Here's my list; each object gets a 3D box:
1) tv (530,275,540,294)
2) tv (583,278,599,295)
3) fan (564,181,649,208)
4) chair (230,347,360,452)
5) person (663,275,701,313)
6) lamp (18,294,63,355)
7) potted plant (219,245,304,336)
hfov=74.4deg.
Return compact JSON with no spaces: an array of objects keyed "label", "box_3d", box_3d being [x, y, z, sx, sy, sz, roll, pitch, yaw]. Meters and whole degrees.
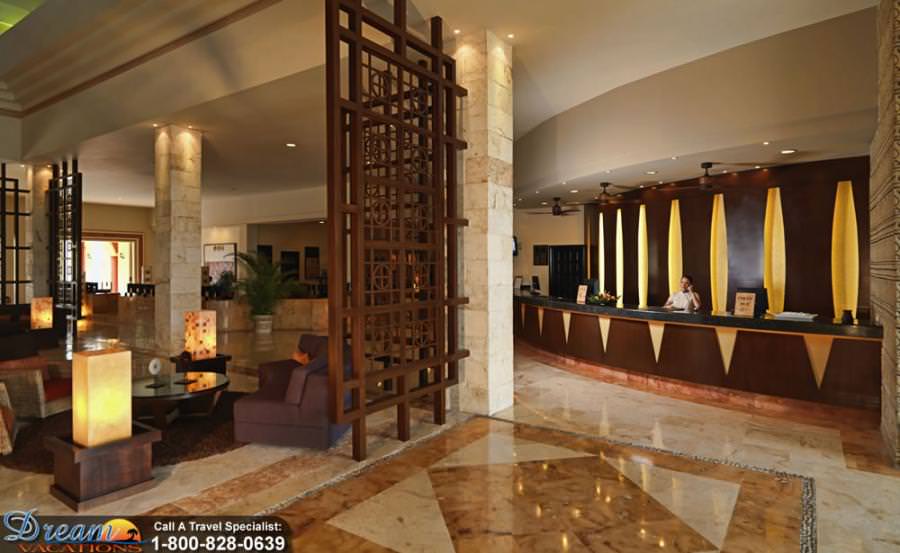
[{"label":"tv","box_3d":[2.560,0.245,17.910,0.292,0.592,0.647,-5,-1,21]},{"label":"tv","box_3d":[3.055,0.222,12.855,0.317,0.285,0.103,-13,-11,41]},{"label":"fan","box_3d":[3.708,-1.967,14.763,1.555,0.436,2.955,-3,2,-12]},{"label":"chair","box_3d":[-2.314,1.744,8.914,1.564,0.983,1.506,1,-2,9]},{"label":"person","box_3d":[4.530,0.318,11.558,0.527,0.629,1.206,-2,2,19]},{"label":"lamp","box_3d":[-8.916,0.953,13.131,0.730,1.005,0.706,-2,-1,28]},{"label":"potted plant","box_3d":[-5.650,0.392,18.004,2.869,2.506,2.783,-5,-7,32]}]
